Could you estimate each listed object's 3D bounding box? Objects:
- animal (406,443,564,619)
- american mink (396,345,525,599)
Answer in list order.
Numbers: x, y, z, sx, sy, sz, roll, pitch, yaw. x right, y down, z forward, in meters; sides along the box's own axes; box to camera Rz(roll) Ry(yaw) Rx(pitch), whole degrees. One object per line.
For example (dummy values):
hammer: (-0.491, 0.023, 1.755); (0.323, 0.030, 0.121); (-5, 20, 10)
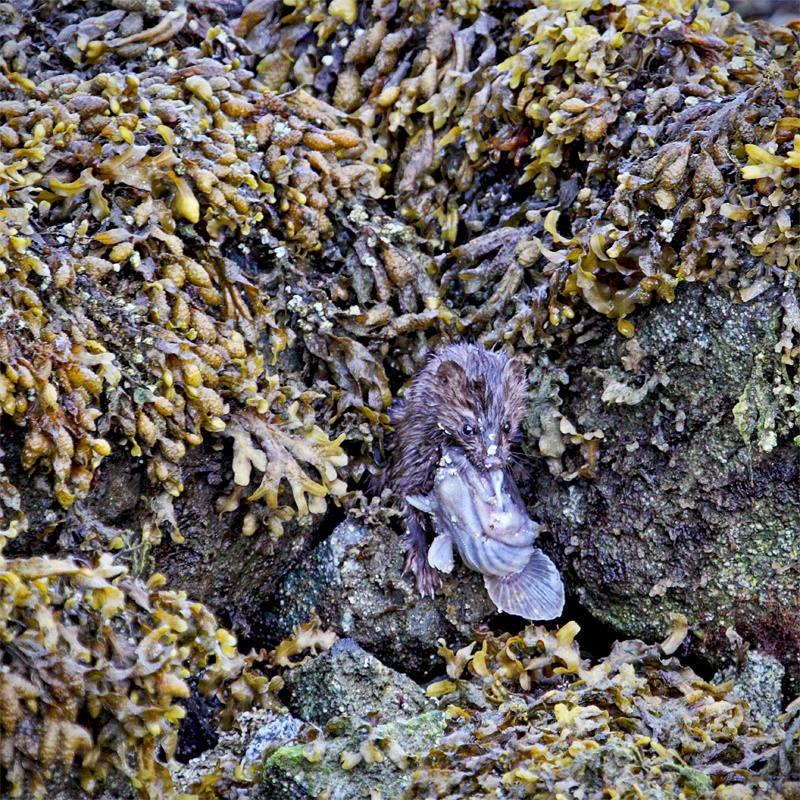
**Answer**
animal: (0.258, 0.523, 5.258); (0.502, 0.311, 0.651); (-33, 91, -19)
american mink: (0.148, 0.216, 5.103); (0.449, 0.527, 0.769); (10, 62, 15)
